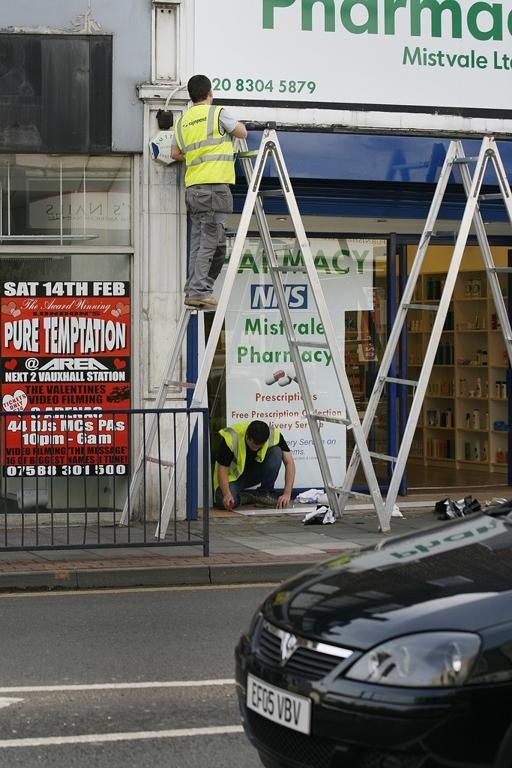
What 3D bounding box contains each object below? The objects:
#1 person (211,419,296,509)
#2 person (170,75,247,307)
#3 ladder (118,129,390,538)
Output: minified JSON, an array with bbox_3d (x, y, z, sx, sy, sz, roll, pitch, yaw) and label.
[{"bbox_3d":[-0.031,0.695,11.882,0.569,0.932,0.555,3,3,-20],"label":"person"},{"bbox_3d":[-0.339,-1.453,10.127,0.509,1.831,0.544,0,1,-12],"label":"person"},{"bbox_3d":[-0.008,-0.462,10.624,1.324,4.499,1.398,-4,6,-30],"label":"ladder"}]
